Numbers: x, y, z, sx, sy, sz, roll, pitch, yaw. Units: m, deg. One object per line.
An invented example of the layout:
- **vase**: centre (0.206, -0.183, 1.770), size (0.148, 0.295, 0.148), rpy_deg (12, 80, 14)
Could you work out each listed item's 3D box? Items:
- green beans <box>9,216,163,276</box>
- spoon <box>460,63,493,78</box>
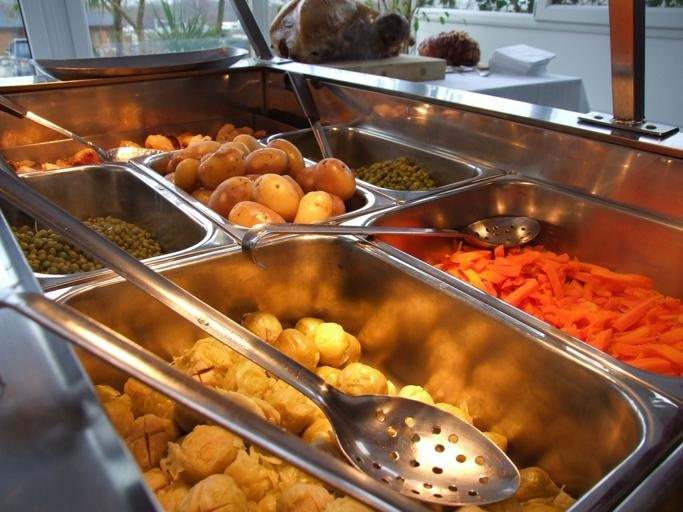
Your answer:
- **green beans**: centre (-0.594, -0.022, 1.175), size (0.275, 0.079, 0.343), rpy_deg (-20, 34, -36)
- **spoon**: centre (0.975, -1.264, 3.367), size (0.108, 0.093, 0.610), rpy_deg (11, 19, 30)
